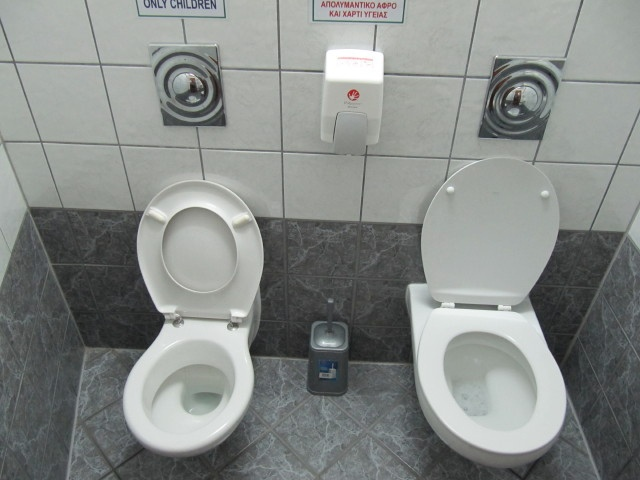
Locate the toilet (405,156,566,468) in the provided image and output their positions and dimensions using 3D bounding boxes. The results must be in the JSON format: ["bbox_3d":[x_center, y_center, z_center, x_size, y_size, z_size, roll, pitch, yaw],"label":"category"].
[{"bbox_3d":[0.599,0.319,1.880,0.488,1.021,0.854,0,35,7],"label":"toilet"}]

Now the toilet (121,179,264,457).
[{"bbox_3d":[-0.443,0.370,1.911,0.456,0.952,0.824,1,31,-1],"label":"toilet"}]
